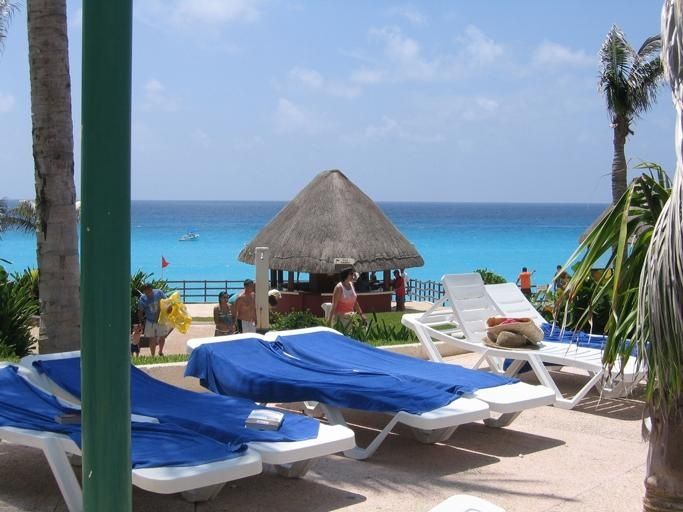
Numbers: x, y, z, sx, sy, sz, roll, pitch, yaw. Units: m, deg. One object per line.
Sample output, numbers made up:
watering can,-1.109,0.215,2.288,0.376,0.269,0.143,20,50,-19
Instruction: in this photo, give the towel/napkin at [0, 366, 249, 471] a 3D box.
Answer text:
towel/napkin,-1.978,1.392,5.538,2.389,0.131,0.825,9,4,39

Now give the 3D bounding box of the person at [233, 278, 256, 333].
person,-1.557,0.824,10.746,0.279,0.853,0.619,1,-5,-36

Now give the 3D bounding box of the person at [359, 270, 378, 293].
person,0.888,0.966,23.031,0.608,0.693,1.194,-3,0,0

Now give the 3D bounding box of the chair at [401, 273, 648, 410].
chair,2.321,1.090,8.847,1.395,1.171,2.734,-3,5,-42

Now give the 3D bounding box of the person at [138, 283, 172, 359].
person,-3.456,1.180,12.123,0.533,1.306,0.900,-1,-4,-16

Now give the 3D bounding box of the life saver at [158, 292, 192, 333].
life saver,-3.221,1.123,12.367,0.307,0.600,0.672,-15,-16,38

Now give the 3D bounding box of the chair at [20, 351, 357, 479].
chair,-1.825,1.433,6.633,1.242,0.707,4.448,2,2,-42

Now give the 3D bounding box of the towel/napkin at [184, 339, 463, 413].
towel/napkin,-0.263,1.315,6.872,1.673,0.483,1.247,2,-3,32

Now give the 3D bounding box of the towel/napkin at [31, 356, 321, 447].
towel/napkin,-1.439,1.403,6.164,1.087,0.500,3.036,5,-4,-45

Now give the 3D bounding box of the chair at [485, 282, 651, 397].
chair,2.744,1.109,8.318,1.571,1.043,0.877,13,17,35
